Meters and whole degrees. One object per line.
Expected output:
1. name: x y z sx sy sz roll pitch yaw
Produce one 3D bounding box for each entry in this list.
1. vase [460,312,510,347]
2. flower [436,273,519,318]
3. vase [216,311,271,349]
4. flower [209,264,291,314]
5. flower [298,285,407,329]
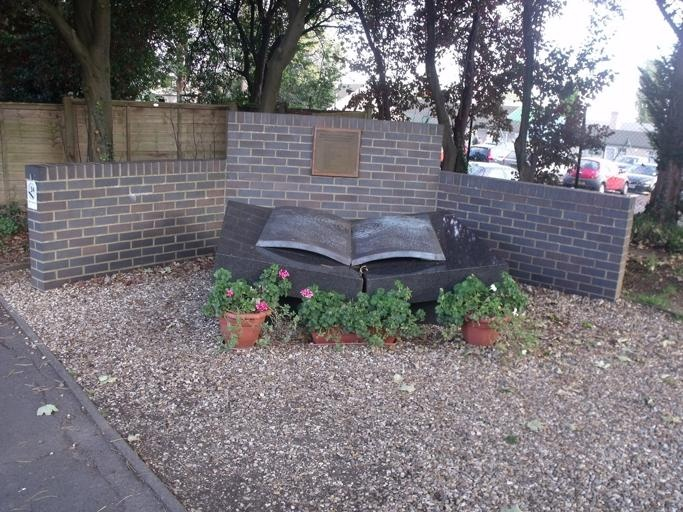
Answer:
1. vase: 1.669 0.883 6.001 0.398 0.273 0.422 4 16 11
2. flower: 1.626 0.459 6.032 0.762 0.417 0.585 -3 50 0
3. vase: -1.113 0.816 5.669 0.442 0.327 0.457 5 13 -21
4. flower: -1.022 0.422 5.723 0.730 0.632 0.484 4 -16 -24
5. flower: 0.106 0.766 6.227 0.888 0.572 0.406 10 -26 1
